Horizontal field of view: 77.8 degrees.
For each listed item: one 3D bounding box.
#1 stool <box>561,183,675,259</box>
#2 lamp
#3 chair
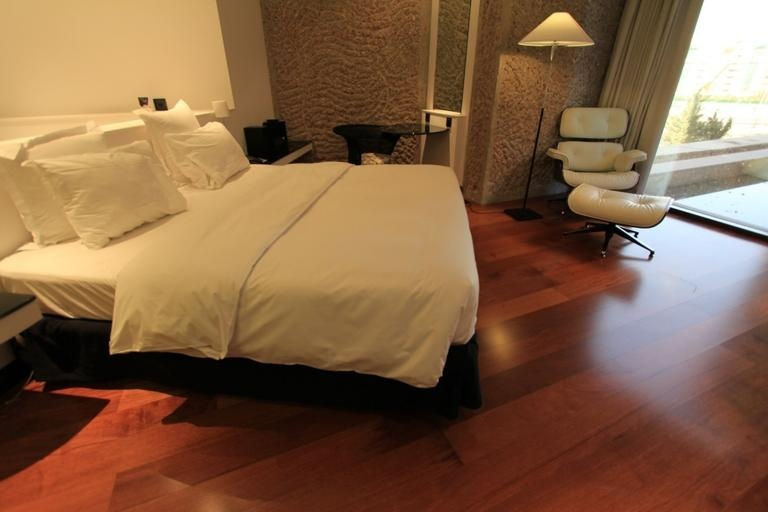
[{"bbox_3d":[2.180,-0.355,4.496,0.812,0.530,0.677,17,34,33],"label":"stool"},{"bbox_3d":[1.676,-1.422,4.940,0.670,1.959,0.994,4,30,14],"label":"lamp"},{"bbox_3d":[2.231,-1.015,5.084,0.998,1.037,1.039,-9,27,-17],"label":"chair"}]
